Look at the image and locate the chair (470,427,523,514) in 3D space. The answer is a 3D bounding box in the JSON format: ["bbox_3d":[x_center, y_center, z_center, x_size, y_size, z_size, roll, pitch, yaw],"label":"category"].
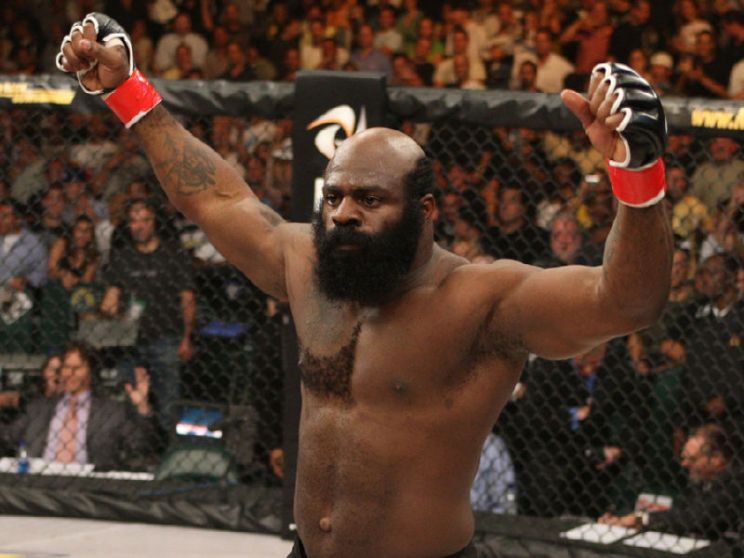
[{"bbox_3d":[0.594,0.942,5.214,0.215,0.321,0.271,4,17,-3],"label":"chair"}]
